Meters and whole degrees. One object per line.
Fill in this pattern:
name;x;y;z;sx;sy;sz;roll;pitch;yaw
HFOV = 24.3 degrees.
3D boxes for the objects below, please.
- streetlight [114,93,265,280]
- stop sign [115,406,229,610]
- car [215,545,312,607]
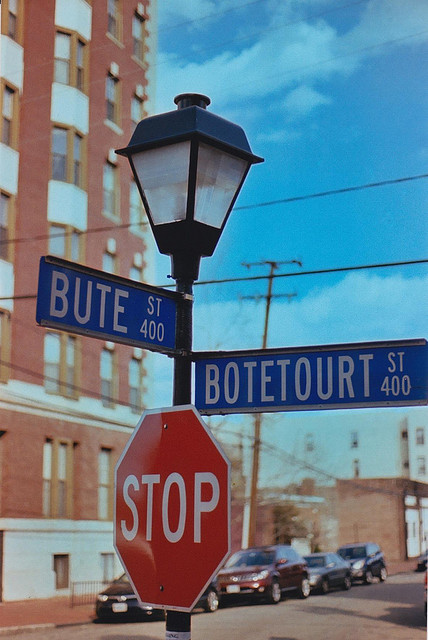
streetlight;-0.112;-0.701;4.924;0.600;0.927;0.609;-4;-1;21
stop sign;-0.166;0.733;3.934;0.565;0.792;0.136;-11;-16;43
car;0.750;3.878;15.149;1.501;0.900;0.967;1;-12;-5
